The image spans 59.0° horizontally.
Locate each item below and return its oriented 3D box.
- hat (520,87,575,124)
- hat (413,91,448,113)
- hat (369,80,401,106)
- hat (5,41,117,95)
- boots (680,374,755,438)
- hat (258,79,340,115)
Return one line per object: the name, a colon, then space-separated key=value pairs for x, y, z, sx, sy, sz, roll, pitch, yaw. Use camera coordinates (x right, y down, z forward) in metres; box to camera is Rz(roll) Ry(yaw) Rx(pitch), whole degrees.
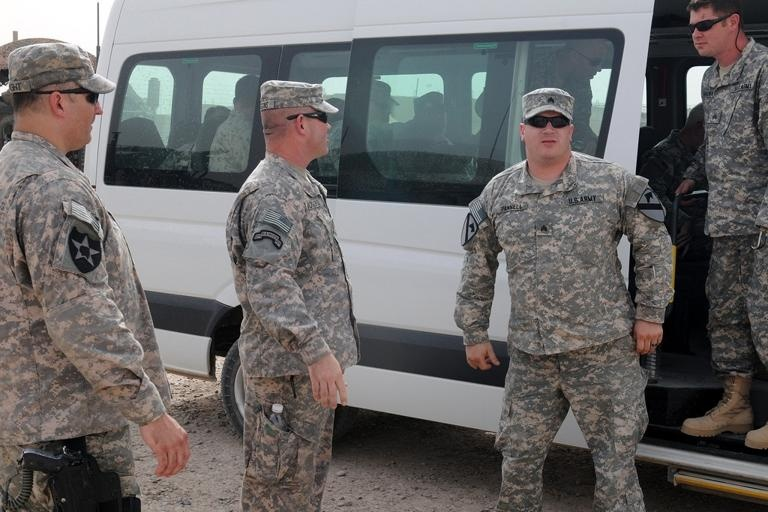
hat: x=0.852 y=-0.771 z=3.456 sx=0.276 sy=0.153 sz=0.326 roll=2 pitch=3 yaw=1
hat: x=0.287 y=-0.947 z=4.167 sx=0.143 sy=0.129 sz=0.038 roll=21 pitch=9 yaw=16
hat: x=0.003 y=-1.034 z=4.319 sx=0.192 sy=0.090 sz=0.138 roll=19 pitch=12 yaw=10
hat: x=-1.304 y=-0.765 z=2.748 sx=0.398 sy=0.225 sz=0.229 roll=-1 pitch=8 yaw=-19
boots: x=1.942 y=0.868 z=3.976 sx=0.459 sy=0.316 sz=0.174 roll=-1 pitch=0 yaw=-5
hat: x=-0.412 y=-0.759 z=3.268 sx=0.287 sy=0.098 sz=0.178 roll=1 pitch=11 yaw=-15
